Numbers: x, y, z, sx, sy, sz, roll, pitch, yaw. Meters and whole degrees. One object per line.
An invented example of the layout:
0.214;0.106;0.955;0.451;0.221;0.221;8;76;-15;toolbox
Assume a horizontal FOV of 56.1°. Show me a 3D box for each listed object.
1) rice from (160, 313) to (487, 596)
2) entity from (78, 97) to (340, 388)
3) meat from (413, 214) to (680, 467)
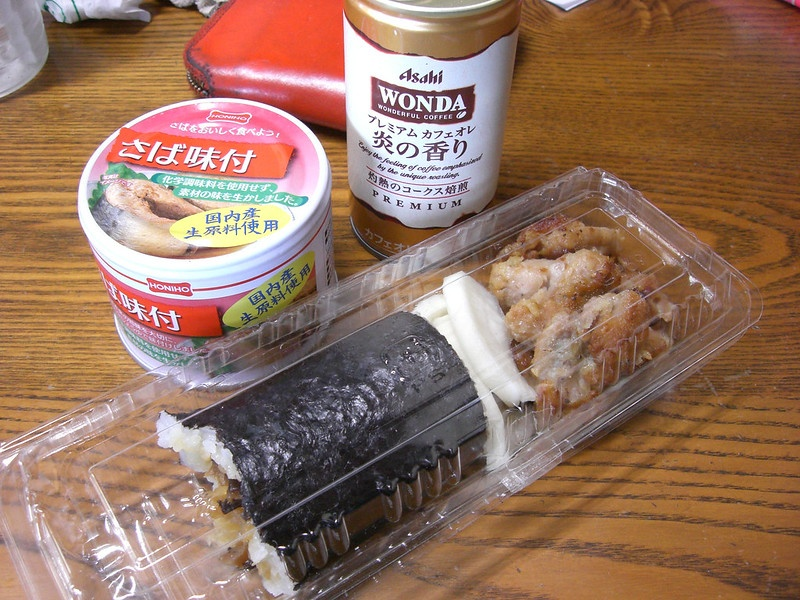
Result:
-0.059;0.144;0.797;0.267;0.159;0.195;-24;49;-26;rice
-0.214;-0.069;0.993;0.335;0.222;0.289;14;60;6;entity
0.222;0.088;0.894;0.229;0.345;0.104;-37;96;-22;meat
